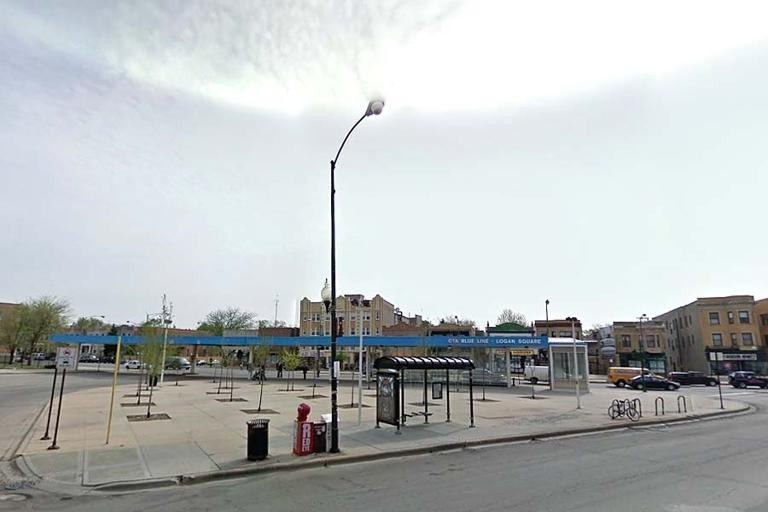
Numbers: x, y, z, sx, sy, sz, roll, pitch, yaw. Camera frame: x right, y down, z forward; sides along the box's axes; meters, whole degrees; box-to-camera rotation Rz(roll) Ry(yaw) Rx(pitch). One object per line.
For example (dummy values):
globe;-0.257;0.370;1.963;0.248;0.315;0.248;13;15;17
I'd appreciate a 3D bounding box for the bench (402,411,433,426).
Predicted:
bench;1.619;8.219;23.417;1.359;0.575;3.196;-2;-16;7

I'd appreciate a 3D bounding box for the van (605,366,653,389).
van;26.089;13.340;49.197;4.443;2.204;2.911;-6;-8;19

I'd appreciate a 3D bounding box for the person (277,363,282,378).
person;-11.515;12.742;51.152;0.309;1.365;1.733;4;-16;-15

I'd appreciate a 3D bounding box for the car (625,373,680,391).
car;26.199;12.362;45.244;4.121;1.518;3.480;-3;-16;10

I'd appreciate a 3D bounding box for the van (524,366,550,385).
van;16.282;12.733;49.322;2.417;1.717;2.554;0;-15;-1
